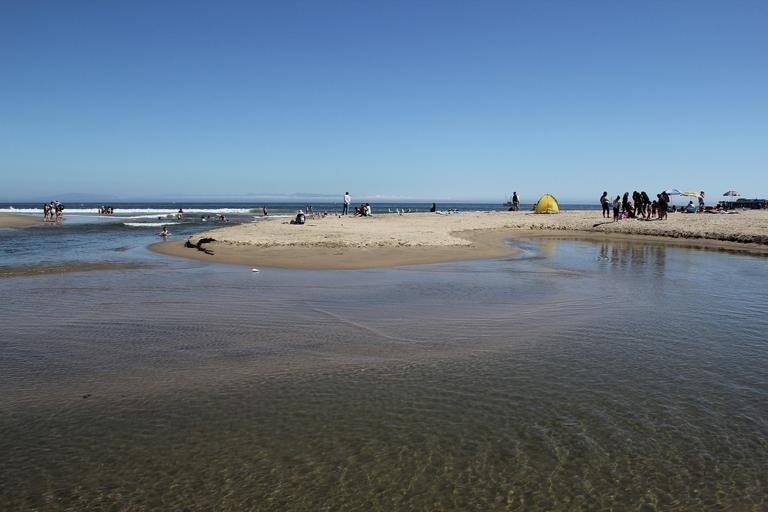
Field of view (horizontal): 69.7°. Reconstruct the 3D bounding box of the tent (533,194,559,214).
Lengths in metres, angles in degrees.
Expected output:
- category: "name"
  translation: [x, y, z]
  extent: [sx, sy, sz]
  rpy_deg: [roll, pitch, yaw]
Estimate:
- category: "tent"
  translation: [16.122, -5.029, 54.499]
  extent: [2.274, 1.842, 3.625]
  rpy_deg: [3, 12, 13]
